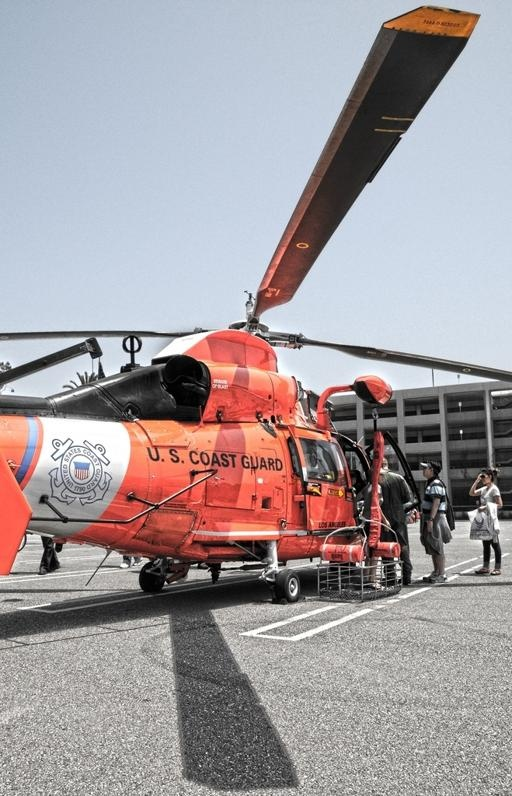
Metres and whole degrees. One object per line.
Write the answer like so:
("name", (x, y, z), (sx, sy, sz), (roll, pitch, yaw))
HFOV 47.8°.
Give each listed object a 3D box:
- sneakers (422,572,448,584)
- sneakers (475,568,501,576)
("sneakers", (2.789, 2.807, 9.055), (0.270, 0.096, 0.176), (6, -13, -23))
("sneakers", (3.981, 2.990, 9.922), (0.434, 0.122, 0.166), (4, -6, 4))
